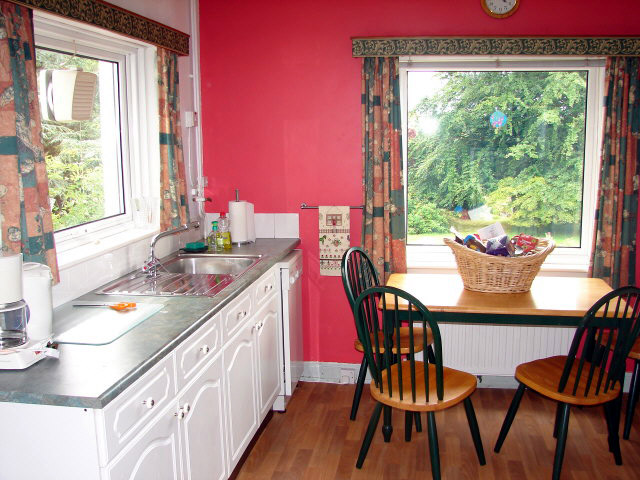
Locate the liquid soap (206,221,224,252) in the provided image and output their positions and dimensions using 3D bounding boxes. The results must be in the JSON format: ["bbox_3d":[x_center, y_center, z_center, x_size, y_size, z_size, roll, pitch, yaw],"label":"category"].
[{"bbox_3d":[-0.732,-0.027,3.602,0.131,0.212,0.134,-2,9,-14],"label":"liquid soap"}]

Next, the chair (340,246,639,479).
[{"bbox_3d":[1.048,0.753,3.035,1.128,0.773,0.501,-1,17,5],"label":"chair"}]

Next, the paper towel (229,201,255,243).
[{"bbox_3d":[-0.554,-0.140,3.747,0.129,0.306,0.242,12,14,35],"label":"paper towel"}]
